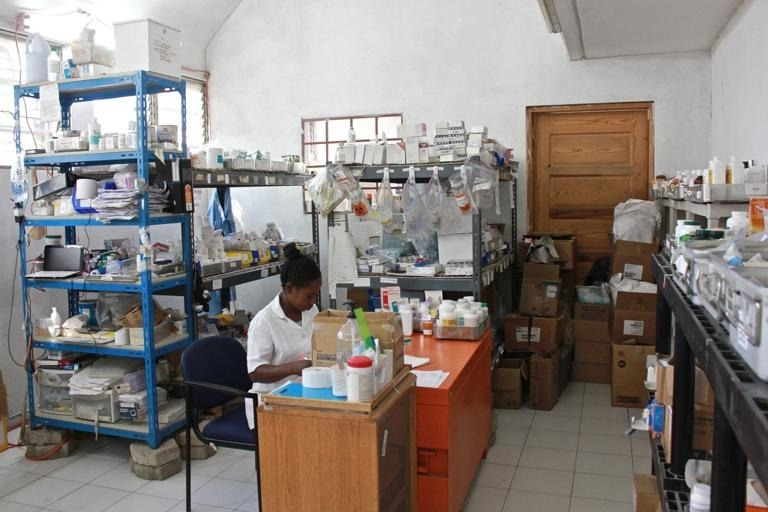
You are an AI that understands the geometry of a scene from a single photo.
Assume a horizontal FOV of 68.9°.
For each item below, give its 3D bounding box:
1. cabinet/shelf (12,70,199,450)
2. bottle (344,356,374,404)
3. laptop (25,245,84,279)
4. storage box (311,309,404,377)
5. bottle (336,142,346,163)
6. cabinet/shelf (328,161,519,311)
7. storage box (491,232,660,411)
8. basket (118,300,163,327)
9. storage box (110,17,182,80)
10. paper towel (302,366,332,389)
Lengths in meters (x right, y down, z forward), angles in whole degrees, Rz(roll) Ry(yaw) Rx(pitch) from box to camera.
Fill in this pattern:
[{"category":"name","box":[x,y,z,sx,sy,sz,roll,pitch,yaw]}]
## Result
[{"category":"cabinet/shelf","box":[-2.122,-0.337,4.265,0.981,2.127,0.473,-1,-3,4]},{"category":"bottle","box":[-0.122,0.578,2.690,0.177,0.278,0.167,-1,7,0]},{"category":"laptop","box":[-2.438,0.044,4.180,0.376,0.270,0.224,2,-2,4]},{"category":"storage box","box":[-0.133,0.539,2.946,0.550,0.381,0.301,1,5,10]},{"category":"bottle","box":[-0.346,-0.810,4.442,0.085,0.150,0.272,-2,12,-5]},{"category":"cabinet/shelf","box":[0.317,-0.219,5.147,1.651,1.513,1.219,3,6,27]},{"category":"storage box","box":[1.645,0.571,5.107,1.453,0.544,1.521,2,10,18]},{"category":"basket","box":[-1.786,0.411,4.137,0.282,0.195,0.204,-1,11,2]},{"category":"storage box","box":[-1.706,-1.469,4.169,0.396,0.454,0.490,7,8,30]},{"category":"paper towel","box":[-0.335,0.588,2.726,0.107,0.045,0.107,1,4,9]}]
